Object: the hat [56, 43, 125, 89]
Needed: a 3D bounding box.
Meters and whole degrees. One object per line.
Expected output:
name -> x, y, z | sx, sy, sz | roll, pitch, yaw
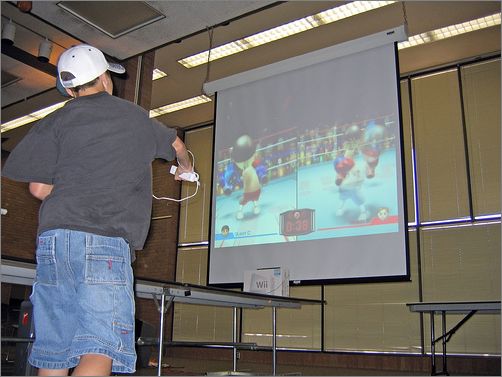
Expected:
hat -> -0.818, -0.616, 2.235 | 0.267, 0.140, 0.186 | -24, 24, -35
